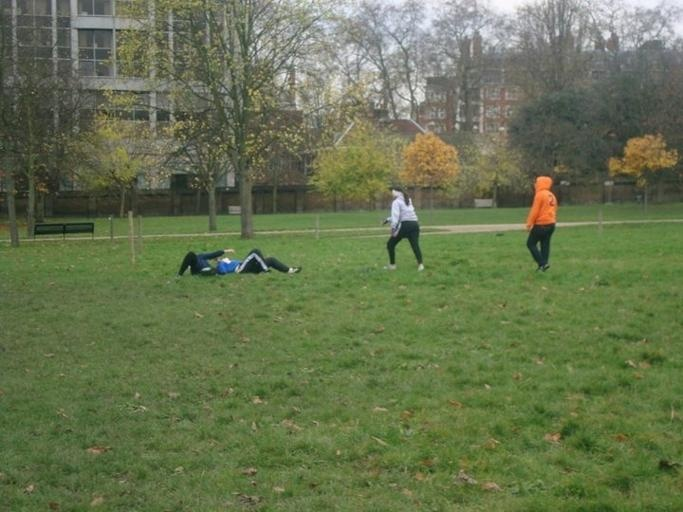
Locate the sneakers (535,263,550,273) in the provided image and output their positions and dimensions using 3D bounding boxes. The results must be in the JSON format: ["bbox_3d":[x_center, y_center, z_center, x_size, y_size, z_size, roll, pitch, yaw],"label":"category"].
[{"bbox_3d":[7.419,0.449,39.109,0.569,0.254,0.216,1,11,41],"label":"sneakers"}]

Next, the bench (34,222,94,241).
[{"bbox_3d":[-13.449,-1.261,51.471,2.738,0.823,3.235,-1,6,-11],"label":"bench"}]

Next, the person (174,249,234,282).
[{"bbox_3d":[-5.172,0.368,39.653,1.655,0.663,1.204,-3,2,-34],"label":"person"}]

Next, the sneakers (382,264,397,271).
[{"bbox_3d":[1.853,0.447,40.512,0.191,0.262,0.547,-4,9,-34],"label":"sneakers"}]
